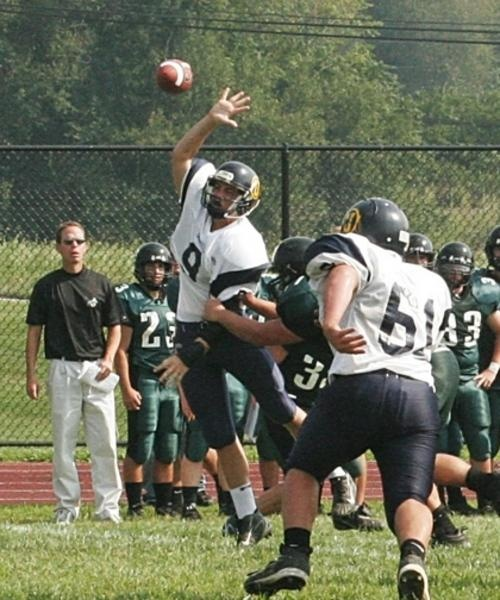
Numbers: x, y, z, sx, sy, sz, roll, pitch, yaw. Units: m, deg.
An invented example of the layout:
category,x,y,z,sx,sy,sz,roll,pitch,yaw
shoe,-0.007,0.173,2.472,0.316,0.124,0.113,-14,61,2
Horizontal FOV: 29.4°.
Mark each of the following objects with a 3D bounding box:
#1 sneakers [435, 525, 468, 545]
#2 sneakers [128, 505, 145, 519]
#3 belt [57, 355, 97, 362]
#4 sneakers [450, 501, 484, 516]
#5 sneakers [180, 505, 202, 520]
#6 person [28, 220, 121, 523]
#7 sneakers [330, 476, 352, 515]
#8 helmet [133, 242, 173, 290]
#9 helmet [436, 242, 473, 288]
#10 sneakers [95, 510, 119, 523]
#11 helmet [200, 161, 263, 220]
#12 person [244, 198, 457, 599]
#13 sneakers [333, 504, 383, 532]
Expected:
category,x,y,z,sx,sy,sz,roll,pitch,yaw
sneakers,1.038,1.234,5.014,0.222,0.074,0.070,-3,-7,6
sneakers,-0.765,1.415,6.463,0.153,0.083,0.045,-2,8,-8
belt,-1.127,0.388,6.332,0.269,0.042,0.050,1,0,-23
sneakers,1.419,1.367,6.324,0.230,0.079,0.069,1,-3,6
sneakers,-0.378,1.392,6.277,0.135,0.072,0.068,-4,-1,15
person,-1.134,0.454,6.312,0.652,1.932,0.547,2,0,-11
sneakers,0.546,1.147,5.628,0.095,0.239,0.117,-24,-54,32
helmet,-0.700,-0.265,6.836,0.278,0.298,0.338,2,-9,-19
helmet,1.461,-0.263,6.832,0.291,0.288,0.324,4,-5,-3
sneakers,-0.916,1.392,6.196,0.126,0.037,0.088,1,-9,18
helmet,-0.096,-0.566,4.980,0.292,0.293,0.215,2,0,-3
person,0.521,0.454,3.751,0.851,1.532,0.516,2,0,-27
sneakers,0.631,1.283,5.729,0.383,0.149,0.115,1,18,-22
